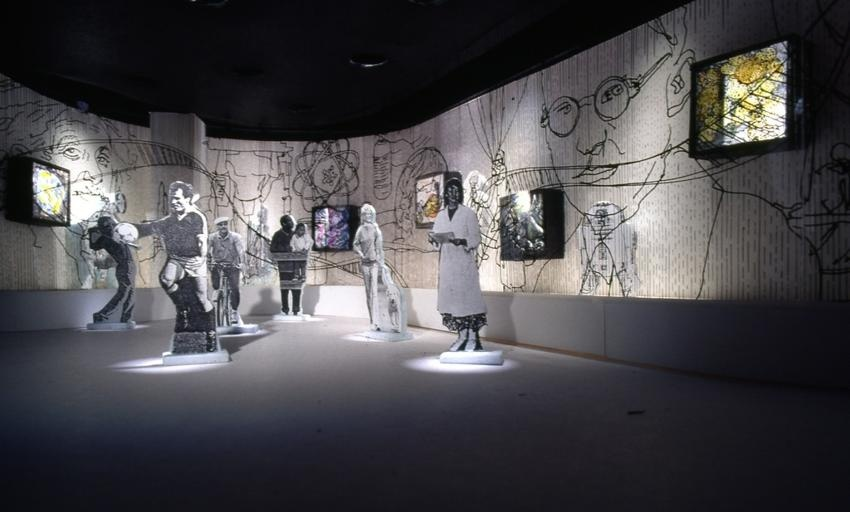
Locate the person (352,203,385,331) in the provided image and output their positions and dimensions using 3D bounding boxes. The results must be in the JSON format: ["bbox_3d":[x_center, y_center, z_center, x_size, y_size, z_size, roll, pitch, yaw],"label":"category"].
[{"bbox_3d":[-1.054,0.244,10.227,0.494,2.430,1.199,-3,12,-13],"label":"person"}]

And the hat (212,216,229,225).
[{"bbox_3d":[-4.571,-0.781,11.909,0.356,0.113,0.356,-5,-1,30],"label":"hat"}]

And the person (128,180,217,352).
[{"bbox_3d":[-3.487,0.169,7.648,0.781,2.368,0.804,-6,13,-26],"label":"person"}]

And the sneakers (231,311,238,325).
[{"bbox_3d":[-3.816,1.219,10.698,0.165,0.241,0.262,-4,12,-16],"label":"sneakers"}]

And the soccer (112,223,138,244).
[{"bbox_3d":[-4.319,-0.325,7.744,0.263,0.323,0.492,-10,15,-38],"label":"soccer"}]
